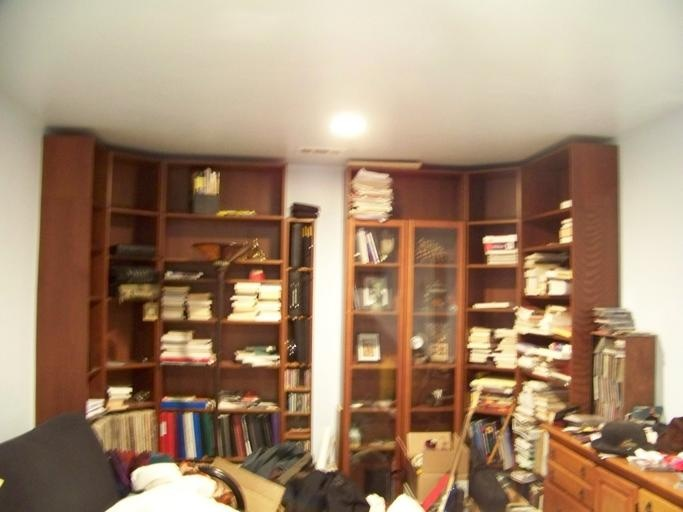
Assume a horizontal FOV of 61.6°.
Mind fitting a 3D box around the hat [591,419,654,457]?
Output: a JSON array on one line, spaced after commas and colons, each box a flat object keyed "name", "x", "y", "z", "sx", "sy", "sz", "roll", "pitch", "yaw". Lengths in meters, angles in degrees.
[{"name": "hat", "x": 1.302, "y": 0.847, "z": 2.656, "sx": 0.188, "sy": 0.069, "sz": 0.161, "roll": -11, "pitch": 1, "yaw": 14}]
